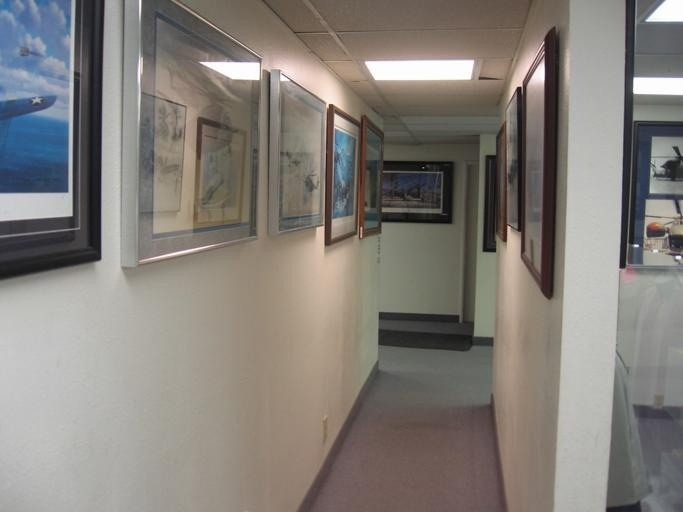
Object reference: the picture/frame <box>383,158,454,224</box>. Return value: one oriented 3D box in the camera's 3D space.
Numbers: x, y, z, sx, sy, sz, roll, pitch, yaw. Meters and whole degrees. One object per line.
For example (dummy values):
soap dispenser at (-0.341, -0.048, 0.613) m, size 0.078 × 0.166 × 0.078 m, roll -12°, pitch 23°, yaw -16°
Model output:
picture/frame at (1.132, -0.975, 7.333) m, size 0.752 × 0.786 × 0.036 m, roll 2°, pitch 9°, yaw 12°
